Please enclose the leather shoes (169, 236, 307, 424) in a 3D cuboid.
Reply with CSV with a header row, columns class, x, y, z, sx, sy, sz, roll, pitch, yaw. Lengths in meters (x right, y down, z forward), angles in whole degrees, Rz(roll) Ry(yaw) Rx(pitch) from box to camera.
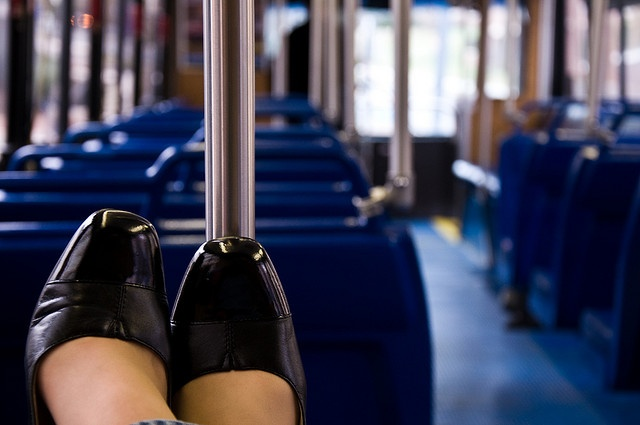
class,x,y,z,sx,sy,sz,roll,pitch,yaw
leather shoes,-0.173,0.213,1.208,0.213,0.410,0.143,-4,8,-3
